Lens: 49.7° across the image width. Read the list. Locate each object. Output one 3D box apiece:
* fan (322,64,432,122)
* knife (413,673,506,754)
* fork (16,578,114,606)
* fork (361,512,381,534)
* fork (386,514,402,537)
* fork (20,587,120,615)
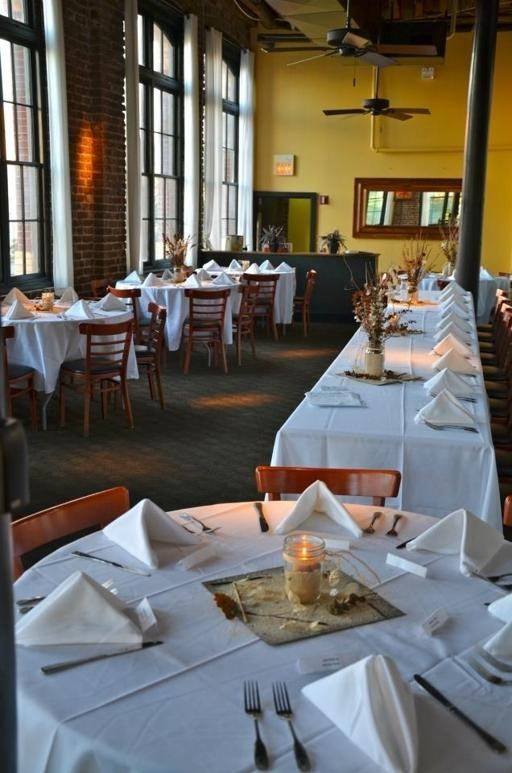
[{"bbox_3d":[1.934,-4.391,8.236,1.434,0.679,1.196,-2,14,-20],"label":"fan"},{"bbox_3d":[0.308,0.488,0.822,0.027,0.018,0.165,-25,13,-9],"label":"knife"},{"bbox_3d":[-0.373,0.403,1.075,0.189,0.022,0.024,-20,29,33],"label":"fork"},{"bbox_3d":[0.320,0.373,1.535,0.025,0.015,0.108,4,15,16],"label":"fork"},{"bbox_3d":[0.381,0.383,1.509,0.023,0.014,0.104,8,21,14],"label":"fork"},{"bbox_3d":[-0.346,0.403,1.033,0.221,0.028,0.026,-11,-31,13],"label":"fork"}]
